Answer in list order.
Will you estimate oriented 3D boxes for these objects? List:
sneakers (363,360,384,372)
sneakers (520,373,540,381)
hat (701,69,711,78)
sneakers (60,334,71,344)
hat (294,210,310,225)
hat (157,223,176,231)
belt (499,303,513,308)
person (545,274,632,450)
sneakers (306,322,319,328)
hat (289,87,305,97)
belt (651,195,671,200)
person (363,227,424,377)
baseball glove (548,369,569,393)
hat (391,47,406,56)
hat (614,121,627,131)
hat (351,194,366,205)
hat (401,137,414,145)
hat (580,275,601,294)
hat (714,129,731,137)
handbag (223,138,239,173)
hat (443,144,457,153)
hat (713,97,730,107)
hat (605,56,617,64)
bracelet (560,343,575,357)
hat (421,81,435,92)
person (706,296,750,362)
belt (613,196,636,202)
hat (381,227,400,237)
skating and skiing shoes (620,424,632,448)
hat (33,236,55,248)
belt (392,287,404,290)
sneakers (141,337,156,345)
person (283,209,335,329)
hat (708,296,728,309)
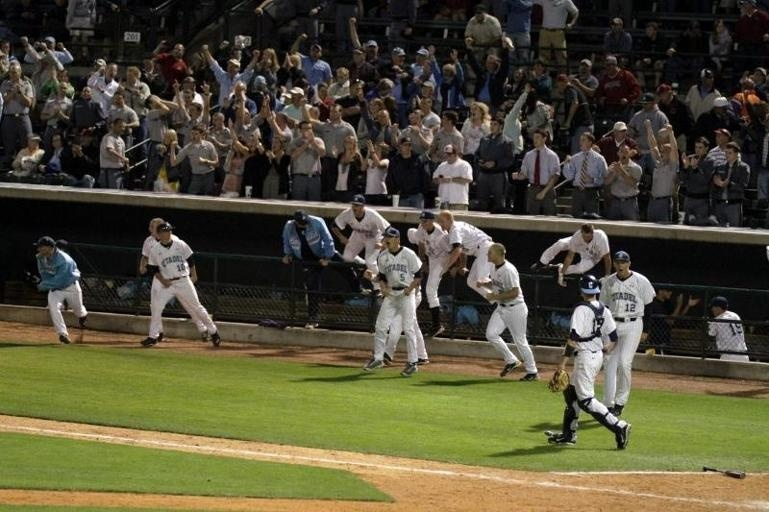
[{"bbox_3d":[-0.295,2.510,35.254,0.580,0.237,0.187,-5,27,-8],"label":"sneakers"},{"bbox_3d":[3.246,2.743,35.132,0.414,0.171,0.147,0,4,-2],"label":"sneakers"},{"bbox_3d":[8.241,-4.614,40.083,0.305,0.158,0.215,-21,24,-31],"label":"hat"},{"bbox_3d":[-7.517,1.995,37.158,0.261,0.231,0.379,0,4,-12],"label":"sneakers"},{"bbox_3d":[-1.959,-0.870,37.428,0.323,0.332,0.453,1,4,8],"label":"hat"},{"bbox_3d":[-5.104,-0.577,36.756,0.278,0.221,0.220,-15,35,0],"label":"hat"},{"bbox_3d":[2.683,1.143,34.783,0.290,0.073,0.048,3,4,32],"label":"belt"},{"bbox_3d":[4.044,2.156,31.320,1.532,3.446,0.916,-1,4,-18],"label":"person"},{"bbox_3d":[-1.752,1.736,38.245,0.130,0.131,0.322,0,-5,29],"label":"sneakers"},{"bbox_3d":[-2.193,-4.125,39.880,0.309,0.206,0.421,0,4,-2],"label":"hat"},{"bbox_3d":[6.669,-1.353,37.917,0.396,0.098,0.129,1,4,12],"label":"belt"},{"bbox_3d":[0.277,1.085,34.963,1.046,3.323,0.526,0,4,-1],"label":"person"},{"bbox_3d":[3.447,2.481,30.945,0.397,0.475,0.535,1,4,7],"label":"baseball glove"},{"bbox_3d":[0.345,-5.261,40.907,0.368,0.170,0.285,9,9,7],"label":"hat"},{"bbox_3d":[5.718,-3.116,38.340,0.238,0.152,0.317,-4,4,-22],"label":"hat"},{"bbox_3d":[-0.587,-1.279,36.822,0.240,0.198,0.350,4,-6,19],"label":"hat"},{"bbox_3d":[0.536,-2.764,38.224,0.268,0.148,0.335,0,4,-4],"label":"hat"},{"bbox_3d":[4.070,0.583,31.408,0.350,0.217,0.422,-3,27,-1],"label":"hat"},{"bbox_3d":[8.029,-2.908,37.300,0.372,0.138,0.255,11,-2,1],"label":"hat"},{"bbox_3d":[-3.826,-2.514,39.830,0.317,0.838,0.787,0,4,-14],"label":"handbag"},{"bbox_3d":[1.589,-2.508,37.537,0.299,0.199,0.275,2,4,20],"label":"hat"},{"bbox_3d":[8.197,-3.741,38.449,0.262,0.189,0.359,-2,0,4],"label":"hat"},{"bbox_3d":[5.925,-5.098,41.190,0.288,0.264,0.798,1,4,5],"label":"hat"},{"bbox_3d":[3.683,1.895,31.362,0.207,0.257,0.731,1,4,6],"label":"bracelet"},{"bbox_3d":[1.091,-4.224,39.550,0.294,0.171,0.385,9,20,-19],"label":"hat"},{"bbox_3d":[7.860,1.717,36.022,0.941,1.480,0.595,1,4,12],"label":"person"},{"bbox_3d":[5.769,-1.347,37.953,0.512,0.114,0.123,1,4,15],"label":"belt"},{"bbox_3d":[0.155,-0.474,34.799,0.310,0.202,0.439,1,4,6],"label":"hat"},{"bbox_3d":[4.796,3.670,31.321,0.251,0.523,0.194,5,35,8],"label":"skating and skiing shoes"},{"bbox_3d":[-7.957,-0.282,36.922,0.473,0.270,0.627,0,2,-32],"label":"hat"},{"bbox_3d":[0.316,0.773,34.867,0.216,0.088,0.052,0,4,-1],"label":"belt"},{"bbox_3d":[-5.577,2.091,37.339,0.336,0.140,0.180,5,8,15],"label":"sneakers"},{"bbox_3d":[-1.804,0.380,37.904,1.224,2.862,1.097,0,4,-10],"label":"person"},{"bbox_3d":[7.679,1.101,36.063,0.406,0.264,0.441,1,4,3],"label":"hat"}]
